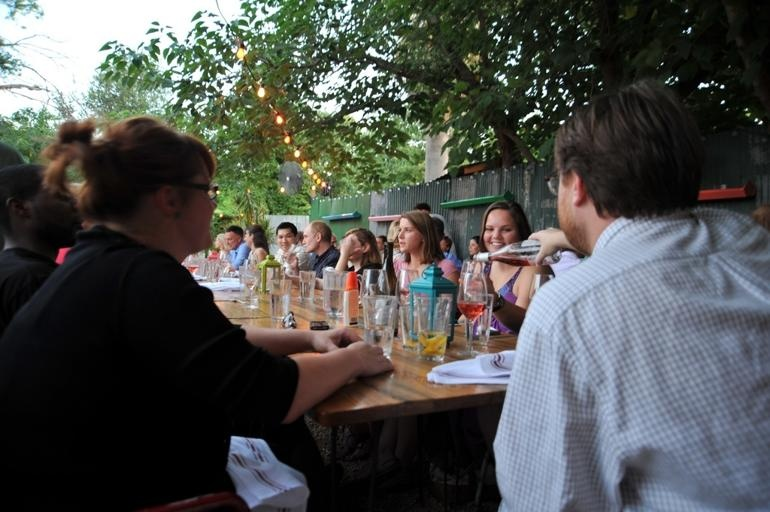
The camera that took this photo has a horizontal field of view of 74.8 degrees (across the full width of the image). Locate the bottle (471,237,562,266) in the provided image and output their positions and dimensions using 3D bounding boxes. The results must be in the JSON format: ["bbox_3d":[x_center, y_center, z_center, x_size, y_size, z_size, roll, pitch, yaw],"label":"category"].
[{"bbox_3d":[0.714,-0.018,2.729,0.211,0.134,0.484,-5,7,-30],"label":"bottle"}]

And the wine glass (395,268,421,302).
[{"bbox_3d":[0.133,0.174,2.907,0.143,0.215,0.132,-5,6,-15],"label":"wine glass"}]
